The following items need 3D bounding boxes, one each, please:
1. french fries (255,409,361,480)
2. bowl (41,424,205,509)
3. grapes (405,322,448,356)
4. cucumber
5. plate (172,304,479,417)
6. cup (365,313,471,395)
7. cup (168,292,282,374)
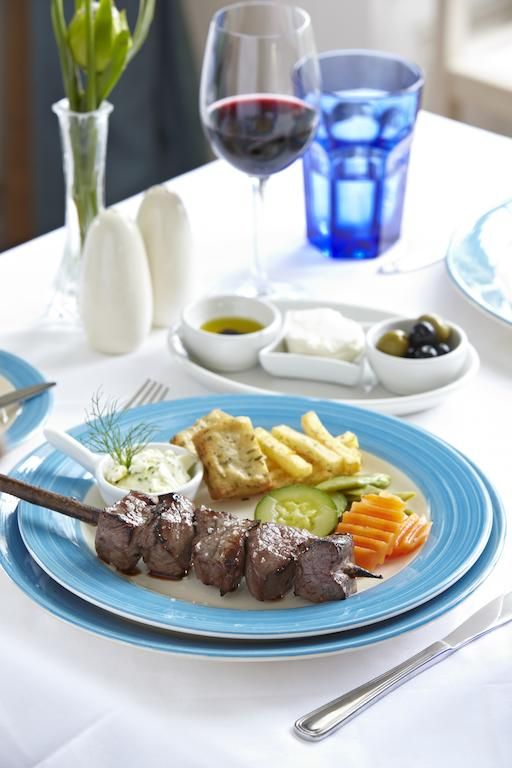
[{"bbox_3d":[0.060,0.071,0.742,0.075,0.027,0.074,-15,39,-17],"label":"french fries"},{"bbox_3d":[-0.148,0.065,0.704,0.136,0.049,0.084,13,30,22],"label":"bowl"},{"bbox_3d":[0.226,-0.057,0.899,0.047,0.019,0.053,-11,52,21],"label":"grapes"},{"bbox_3d":[0.042,0.128,0.656,0.074,0.016,0.076,-1,23,-10],"label":"cucumber"},{"bbox_3d":[0.079,-0.001,0.907,0.286,0.048,0.219,5,28,0],"label":"plate"},{"bbox_3d":[0.222,-0.030,0.909,0.118,0.071,0.121,-2,29,1],"label":"cup"},{"bbox_3d":[-0.038,-0.076,0.980,0.129,0.070,0.129,0,34,0],"label":"cup"}]
